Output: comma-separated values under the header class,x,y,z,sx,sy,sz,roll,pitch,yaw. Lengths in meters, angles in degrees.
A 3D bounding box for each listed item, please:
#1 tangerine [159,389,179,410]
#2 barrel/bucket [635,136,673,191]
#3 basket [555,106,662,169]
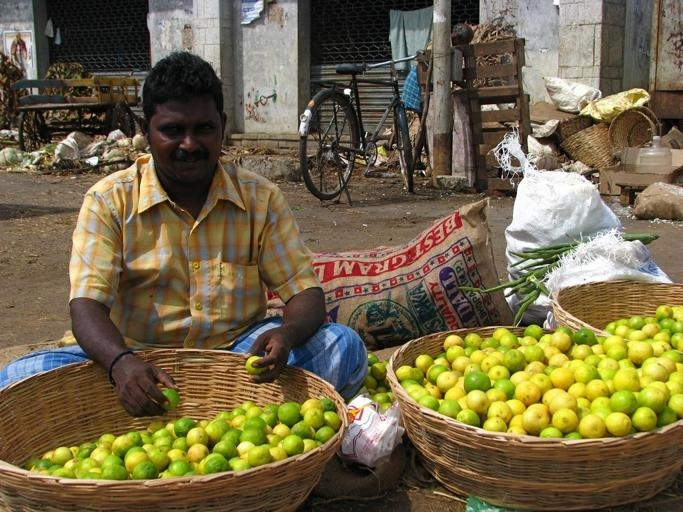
class,x,y,z,sx,sy,sz,roll,pitch,yaw
tangerine,-0.666,0.567,2.800,0.068,0.091,0.071,0,22,-3
barrel/bucket,3.541,-1.163,8.171,0.381,0.405,0.365,-3,10,0
basket,3.622,-1.609,9.945,0.902,0.737,1.069,-9,12,-33
